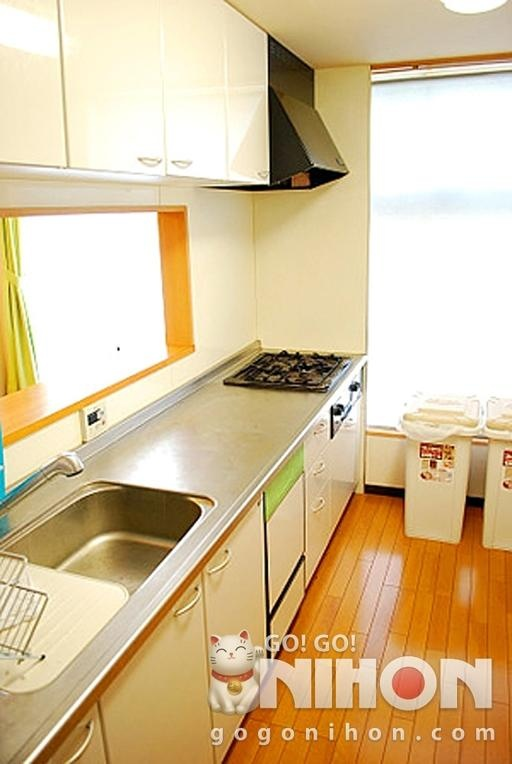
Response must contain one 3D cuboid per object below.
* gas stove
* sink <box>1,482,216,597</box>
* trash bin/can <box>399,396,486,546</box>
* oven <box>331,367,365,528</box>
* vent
[{"bbox_3d":[0.172,-0.071,2.760,0.530,0.058,0.671,3,15,18],"label":"gas stove"},{"bbox_3d":[-0.364,0.377,1.518,0.295,0.098,0.312,13,24,21],"label":"sink"},{"bbox_3d":[0.937,0.461,2.852,0.374,0.712,0.346,4,13,23],"label":"trash bin/can"},{"bbox_3d":[0.468,0.323,2.850,0.209,0.658,0.632,0,26,15],"label":"oven"},{"bbox_3d":[0.176,-1.229,2.578,0.372,0.560,0.791,5,19,18],"label":"vent"}]
